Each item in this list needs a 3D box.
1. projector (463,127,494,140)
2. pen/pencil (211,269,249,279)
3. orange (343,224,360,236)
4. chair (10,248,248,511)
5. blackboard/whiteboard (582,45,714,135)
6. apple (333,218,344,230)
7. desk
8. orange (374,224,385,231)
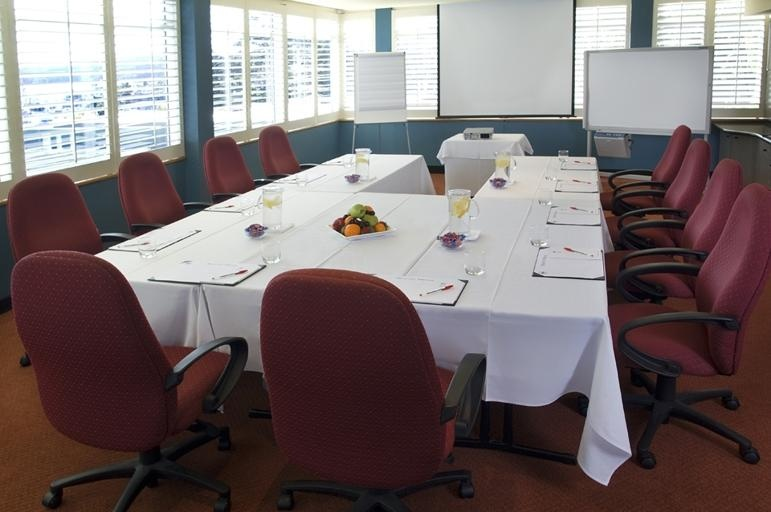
[{"bbox_3d":[1.155,-1.550,6.639,0.373,0.119,0.281,-7,20,-13],"label":"projector"},{"bbox_3d":[-0.745,0.087,2.526,0.190,0.025,0.021,-6,-1,-25],"label":"pen/pencil"},{"bbox_3d":[-0.200,-0.156,2.995,0.069,0.072,0.067,4,6,19],"label":"orange"},{"bbox_3d":[-1.083,0.540,2.261,0.880,1.251,0.547,-12,22,-27],"label":"chair"},{"bbox_3d":[3.475,-2.199,6.918,1.744,1.259,0.073,6,17,31],"label":"blackboard/whiteboard"},{"bbox_3d":[-0.278,-0.203,3.092,0.068,0.027,0.071,9,37,26],"label":"apple"},{"bbox_3d":[1.123,-1.226,6.632,0.937,0.667,1.004,1,10,16],"label":"desk"},{"bbox_3d":[-0.036,-0.169,3.086,0.043,0.047,0.046,4,-5,-21],"label":"orange"}]
